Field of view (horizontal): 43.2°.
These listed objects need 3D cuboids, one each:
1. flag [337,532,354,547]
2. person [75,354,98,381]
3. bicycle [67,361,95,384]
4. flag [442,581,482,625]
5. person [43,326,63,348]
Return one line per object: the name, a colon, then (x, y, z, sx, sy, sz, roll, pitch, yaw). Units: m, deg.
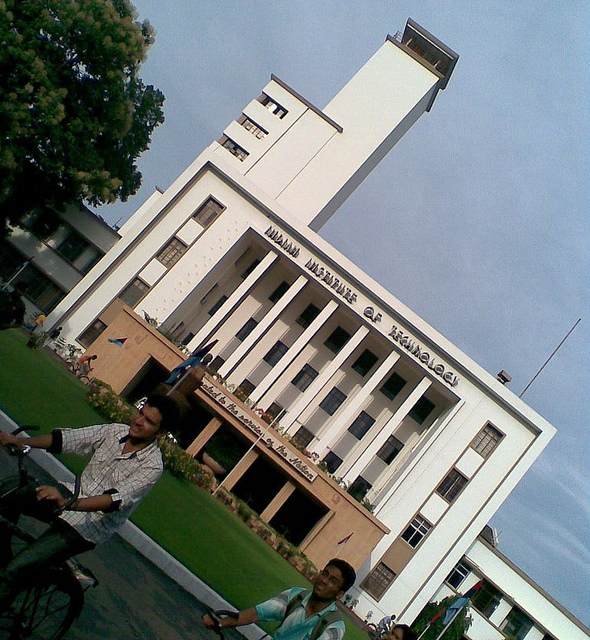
flag: (2.389, 10.482, 35.618, 0.266, 0.895, 0.123, 47, -5, 13)
person: (-10.058, 2.049, 36.069, 0.725, 0.921, 1.552, 30, -48, 28)
bicycle: (-10.073, 2.511, 35.027, 0.680, 0.799, 1.415, 150, -80, -79)
flag: (5.918, 10.130, 26.756, 0.417, 1.531, 1.479, 34, -12, 21)
person: (-12.568, 0.814, 39.137, 0.490, 1.288, 1.889, 41, -10, -13)
